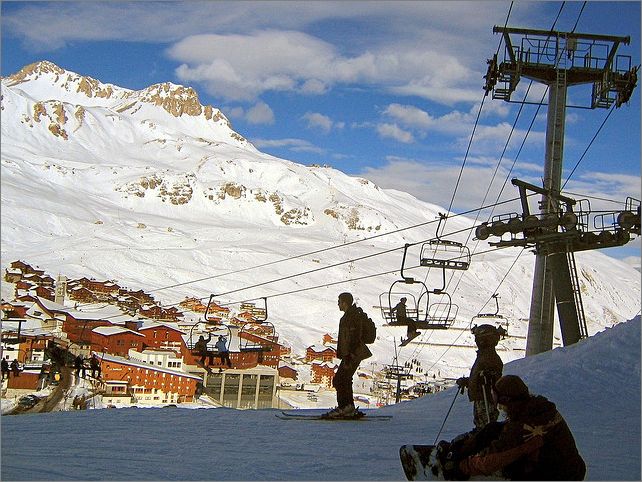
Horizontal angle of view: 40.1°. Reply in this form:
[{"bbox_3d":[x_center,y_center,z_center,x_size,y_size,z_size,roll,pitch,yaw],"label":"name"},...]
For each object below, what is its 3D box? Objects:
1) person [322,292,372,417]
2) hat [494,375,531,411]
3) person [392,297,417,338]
[{"bbox_3d":[0.607,2.370,17.851,0.881,2.076,0.775,6,2,3],"label":"person"},{"bbox_3d":[3.224,2.365,13.958,0.688,0.463,0.533,5,10,28],"label":"hat"},{"bbox_3d":[2.171,1.959,22.296,0.663,0.872,0.831,6,2,1],"label":"person"}]
